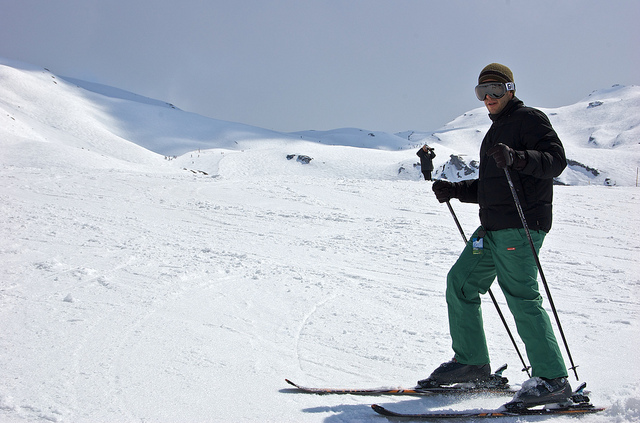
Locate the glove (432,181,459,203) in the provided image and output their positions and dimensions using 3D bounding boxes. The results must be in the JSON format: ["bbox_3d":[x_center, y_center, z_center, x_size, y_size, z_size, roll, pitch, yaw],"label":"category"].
[{"bbox_3d":[2.272,-0.339,12.711,0.442,0.360,0.197,-6,-9,-10],"label":"glove"}]

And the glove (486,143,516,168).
[{"bbox_3d":[3.065,-0.922,11.936,0.496,0.337,0.162,11,15,26],"label":"glove"}]
